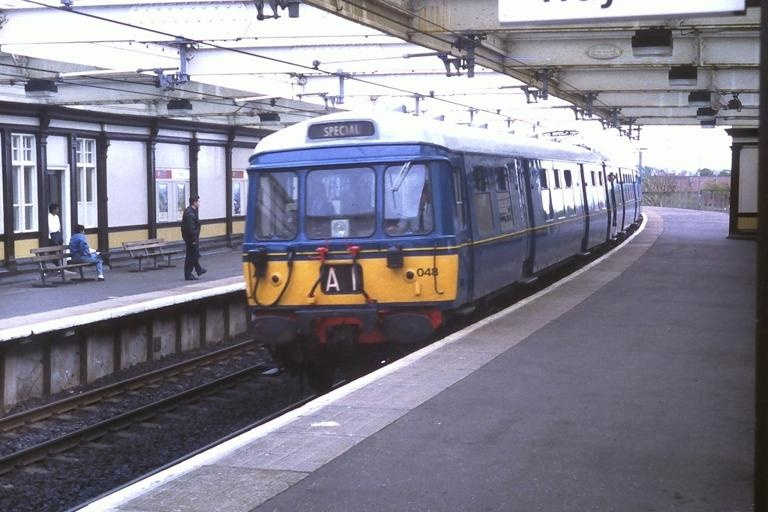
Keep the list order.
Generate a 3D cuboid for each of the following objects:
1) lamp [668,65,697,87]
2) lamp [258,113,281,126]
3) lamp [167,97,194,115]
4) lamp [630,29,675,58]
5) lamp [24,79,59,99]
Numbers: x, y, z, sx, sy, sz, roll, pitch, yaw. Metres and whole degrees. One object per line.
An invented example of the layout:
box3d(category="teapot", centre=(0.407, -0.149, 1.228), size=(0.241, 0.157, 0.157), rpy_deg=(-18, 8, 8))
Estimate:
box3d(category="lamp", centre=(7.551, -4.481, 17.260), size=(0.569, 0.558, 0.414), rpy_deg=(0, -1, 4))
box3d(category="lamp", centre=(-4.436, -5.346, 26.451), size=(0.738, 0.398, 0.528), rpy_deg=(-2, 5, 0))
box3d(category="lamp", centre=(-6.824, -5.019, 22.746), size=(0.792, 0.516, 0.818), rpy_deg=(-1, 7, -4))
box3d(category="lamp", centre=(5.344, -4.177, 13.523), size=(0.568, 0.453, 0.657), rpy_deg=(0, 1, 8))
box3d(category="lamp", centre=(-10.118, -4.943, 20.122), size=(0.798, 0.479, 1.115), rpy_deg=(-6, 13, -29))
